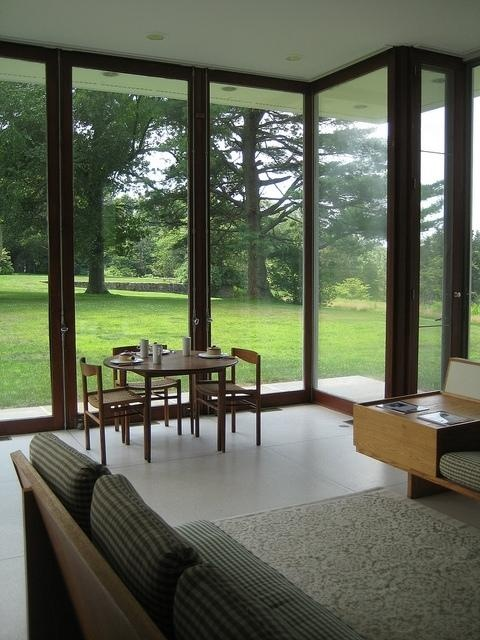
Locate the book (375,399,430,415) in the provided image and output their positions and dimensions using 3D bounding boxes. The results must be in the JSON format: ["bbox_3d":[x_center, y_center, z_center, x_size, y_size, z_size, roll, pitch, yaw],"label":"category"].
[{"bbox_3d":[1.030,0.552,3.463,0.202,0.033,0.343,-6,7,-19],"label":"book"}]

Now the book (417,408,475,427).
[{"bbox_3d":[1.199,0.571,3.196,0.292,0.028,0.315,-1,4,-23],"label":"book"}]

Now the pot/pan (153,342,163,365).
[{"bbox_3d":[-0.655,0.259,4.297,0.062,0.149,0.144,0,3,-14],"label":"pot/pan"}]

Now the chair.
[{"bbox_3d":[-0.613,0.644,4.690,1.501,0.806,1.312,-2,4,-35],"label":"chair"}]
